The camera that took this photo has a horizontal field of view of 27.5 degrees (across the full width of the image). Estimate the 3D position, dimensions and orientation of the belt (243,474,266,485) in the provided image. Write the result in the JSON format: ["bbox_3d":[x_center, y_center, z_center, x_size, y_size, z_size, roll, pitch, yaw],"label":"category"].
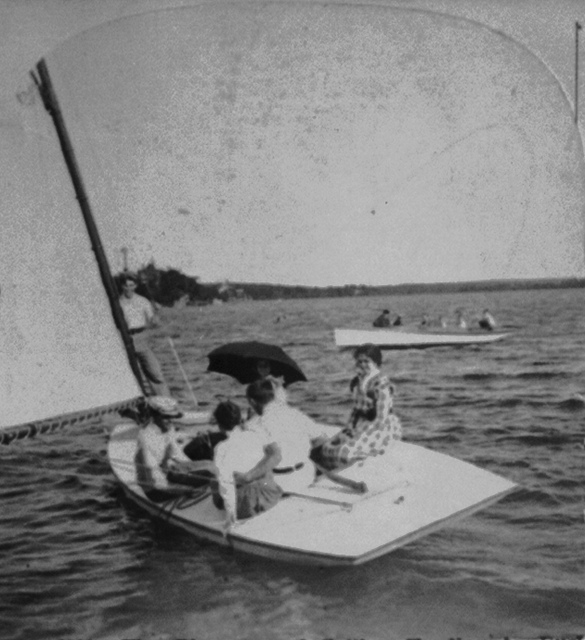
[{"bbox_3d":[-0.204,0.840,6.304,0.089,0.012,0.008,-26,51,-2],"label":"belt"}]
